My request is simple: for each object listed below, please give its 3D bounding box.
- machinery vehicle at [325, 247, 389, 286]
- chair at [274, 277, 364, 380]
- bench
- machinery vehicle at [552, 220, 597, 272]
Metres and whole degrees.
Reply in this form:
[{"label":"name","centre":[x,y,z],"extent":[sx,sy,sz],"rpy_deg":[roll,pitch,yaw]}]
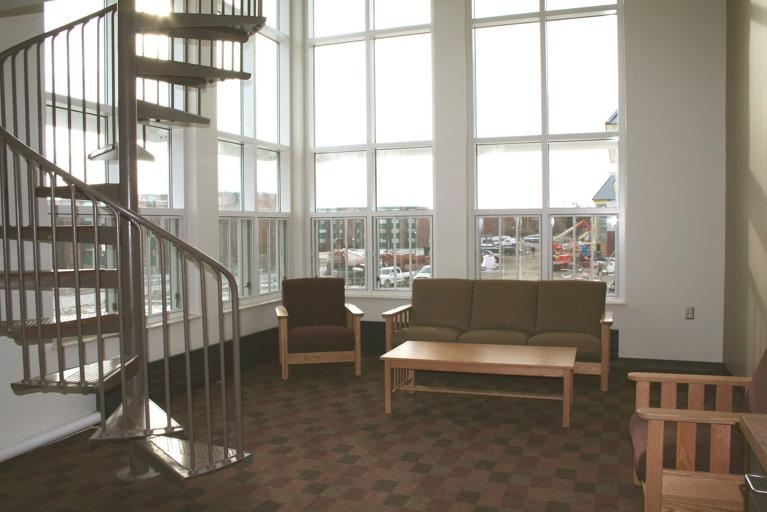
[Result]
[{"label":"machinery vehicle","centre":[-0.457,0.164,8.610],"extent":[0.752,0.256,0.535],"rpy_deg":[0,9,4]},{"label":"chair","centre":[-0.828,0.830,7.287],"extent":[1.062,1.057,1.275],"rpy_deg":[-1,-3,-8]},{"label":"bench","centre":[1.435,0.894,7.175],"extent":[2.642,1.055,0.960],"rpy_deg":[0,6,21]},{"label":"machinery vehicle","centre":[2.485,-0.138,7.827],"extent":[0.615,0.611,0.417],"rpy_deg":[-7,10,-4]}]
